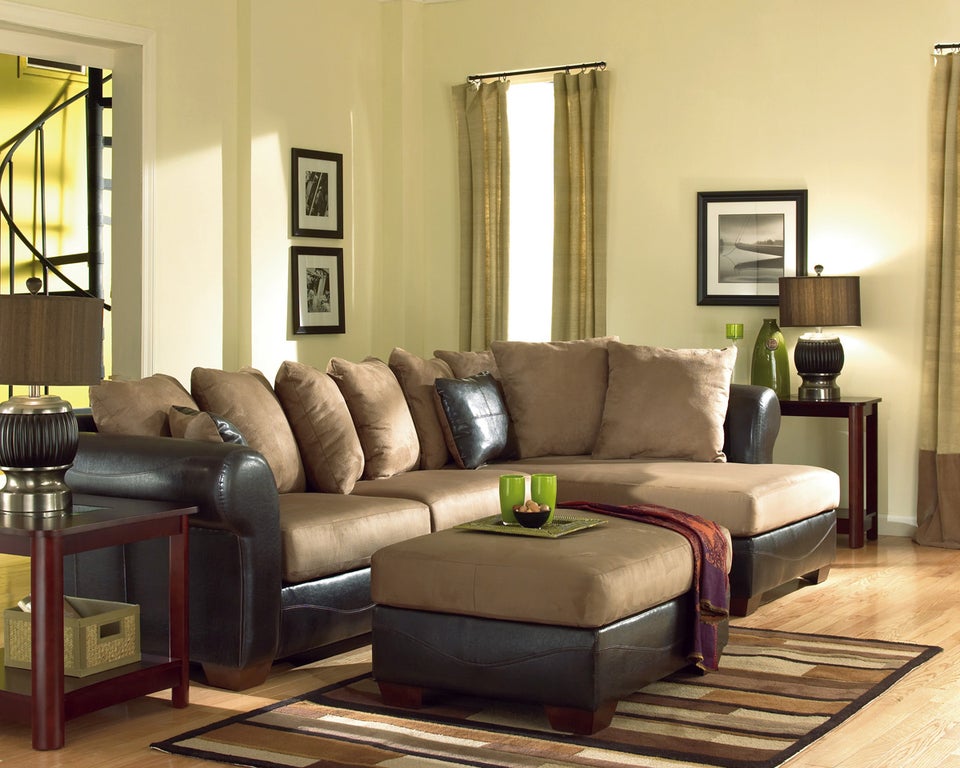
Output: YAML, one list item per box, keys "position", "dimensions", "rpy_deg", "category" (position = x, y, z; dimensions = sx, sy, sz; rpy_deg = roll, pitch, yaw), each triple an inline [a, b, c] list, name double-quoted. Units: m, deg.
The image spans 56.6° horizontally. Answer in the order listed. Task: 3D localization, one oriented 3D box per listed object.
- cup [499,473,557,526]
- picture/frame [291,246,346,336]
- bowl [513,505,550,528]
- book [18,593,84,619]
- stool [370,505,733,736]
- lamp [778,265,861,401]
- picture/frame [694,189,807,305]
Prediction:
- position: [0.149, 0.392, 3.022]
  dimensions: [0.245, 0.186, 0.156]
  rpy_deg: [0, 3, 10]
  category: "cup"
- position: [-1.148, -0.649, 6.145]
  dimensions: [0.043, 0.699, 0.635]
  rpy_deg: [3, 6, 34]
  category: "picture/frame"
- position: [0.157, 0.435, 2.951]
  dimensions: [0.089, 0.047, 0.086]
  rpy_deg: [1, -2, 0]
  category: "bowl"
- position: [-1.317, 0.702, 2.766]
  dimensions: [0.145, 0.032, 0.133]
  rpy_deg: [2, 0, 8]
  category: "book"
- position: [0.176, 0.750, 2.794]
  dimensions: [0.634, 0.412, 0.868]
  rpy_deg: [-1, 1, 31]
  category: "stool"
- position: [2.094, -0.322, 5.550]
  dimensions: [0.485, 0.836, 0.435]
  rpy_deg: [0, 5, 22]
  category: "lamp"
- position: [1.803, -0.917, 5.874]
  dimensions: [0.848, 0.885, 0.067]
  rpy_deg: [1, 3, 21]
  category: "picture/frame"
